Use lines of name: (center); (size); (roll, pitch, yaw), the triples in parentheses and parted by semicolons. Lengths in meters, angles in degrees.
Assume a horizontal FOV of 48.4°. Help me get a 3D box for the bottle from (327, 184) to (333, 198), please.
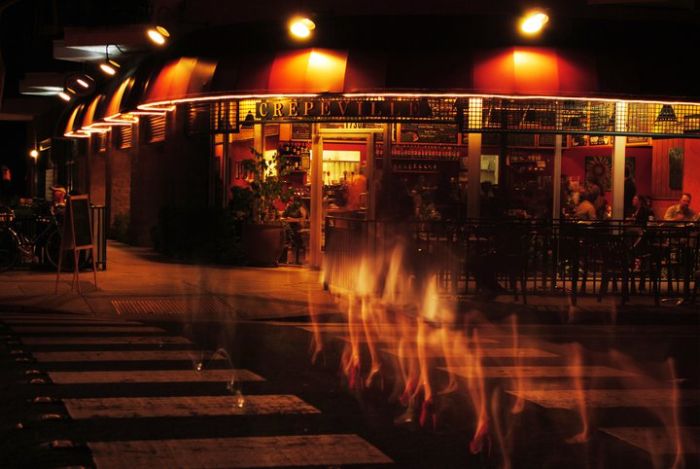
bottle: (-0.528, -1.156, 20.563); (0.220, 0.278, 0.222); (1, -2, 0)

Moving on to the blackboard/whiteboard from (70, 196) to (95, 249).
blackboard/whiteboard: (-5.657, -0.233, 16.380); (0.375, 1.175, 1.116); (-1, 7, -14)

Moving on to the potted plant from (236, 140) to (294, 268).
potted plant: (-2.273, -0.703, 20.970); (1.717, 3.134, 0.831); (1, 6, -1)
